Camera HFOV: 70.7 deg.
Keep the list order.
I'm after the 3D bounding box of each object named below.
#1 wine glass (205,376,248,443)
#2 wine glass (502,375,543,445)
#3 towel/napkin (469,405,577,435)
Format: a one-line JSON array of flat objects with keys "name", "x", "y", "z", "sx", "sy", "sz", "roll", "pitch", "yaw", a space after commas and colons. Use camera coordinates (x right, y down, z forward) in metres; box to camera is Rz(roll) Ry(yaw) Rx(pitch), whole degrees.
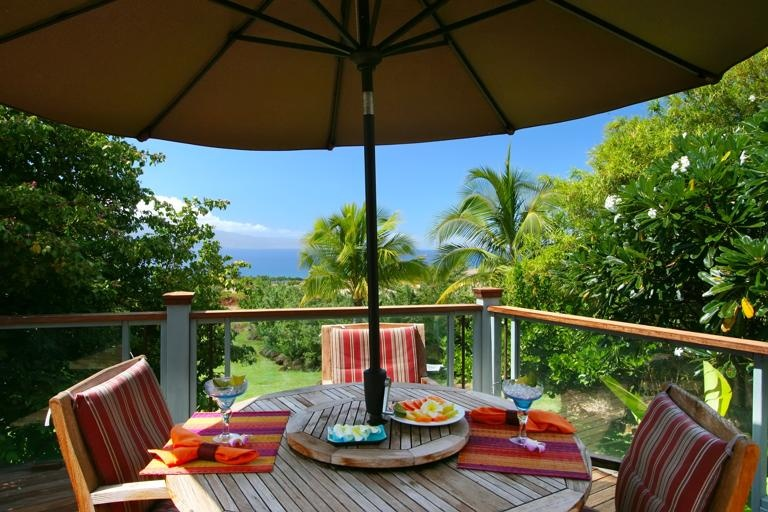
[{"name": "wine glass", "x": -0.795, "y": 0.787, "z": 2.732, "sx": 0.206, "sy": 0.277, "sz": 0.220, "roll": -18, "pitch": -22, "yaw": 29}, {"name": "wine glass", "x": 0.704, "y": 0.790, "z": 2.745, "sx": 0.194, "sy": 0.313, "sz": 0.205, "roll": 2, "pitch": 4, "yaw": 13}, {"name": "towel/napkin", "x": 0.737, "y": 0.867, "z": 2.848, "sx": 0.300, "sy": 0.091, "sz": 0.216, "roll": -3, "pitch": -2, "yaw": -12}]
